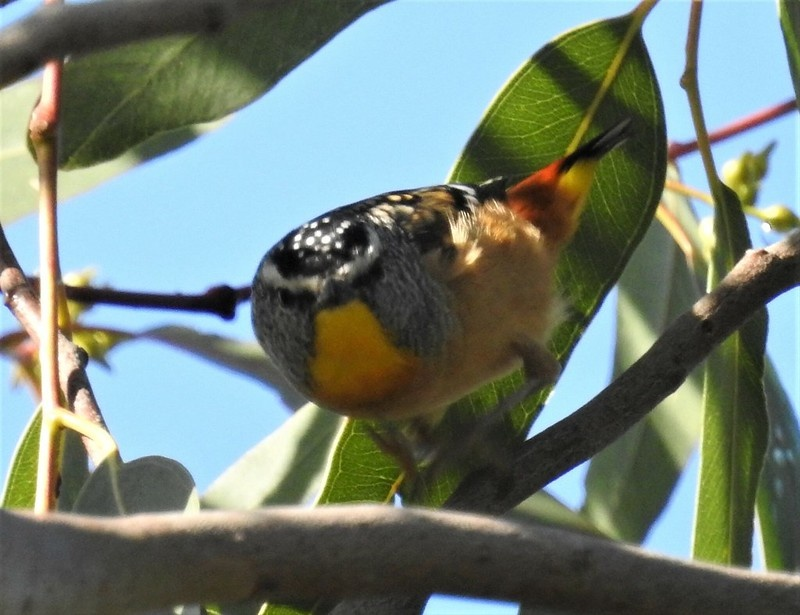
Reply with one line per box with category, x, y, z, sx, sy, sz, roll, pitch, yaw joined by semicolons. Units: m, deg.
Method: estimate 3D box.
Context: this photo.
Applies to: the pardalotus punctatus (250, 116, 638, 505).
pardalotus punctatus;0.068;-0.072;2.645;0.362;0.536;1.144;-13;21;31
